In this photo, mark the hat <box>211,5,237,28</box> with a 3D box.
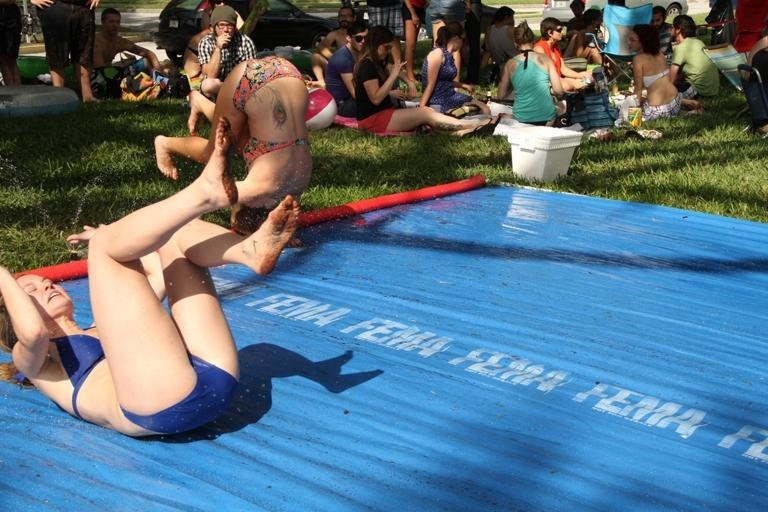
[{"bbox_3d":[-1.992,-2.967,8.704,0.300,0.245,0.346,-4,20,-5],"label":"hat"}]

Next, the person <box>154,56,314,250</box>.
[{"bbox_3d":[-1.047,-0.933,5.054,0.698,1.020,1.622,-15,41,-45],"label":"person"}]

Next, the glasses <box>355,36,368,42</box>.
[{"bbox_3d":[-0.363,-3.152,10.162,0.133,0.098,0.140,-2,24,-3],"label":"glasses"}]

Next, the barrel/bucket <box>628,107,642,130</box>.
[{"bbox_3d":[3.802,-2.116,10.647,0.204,0.235,0.332,7,26,16],"label":"barrel/bucket"}]

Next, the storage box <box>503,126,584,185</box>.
[{"bbox_3d":[1.802,-1.188,7.962,0.586,0.435,0.739,21,26,40],"label":"storage box"}]
